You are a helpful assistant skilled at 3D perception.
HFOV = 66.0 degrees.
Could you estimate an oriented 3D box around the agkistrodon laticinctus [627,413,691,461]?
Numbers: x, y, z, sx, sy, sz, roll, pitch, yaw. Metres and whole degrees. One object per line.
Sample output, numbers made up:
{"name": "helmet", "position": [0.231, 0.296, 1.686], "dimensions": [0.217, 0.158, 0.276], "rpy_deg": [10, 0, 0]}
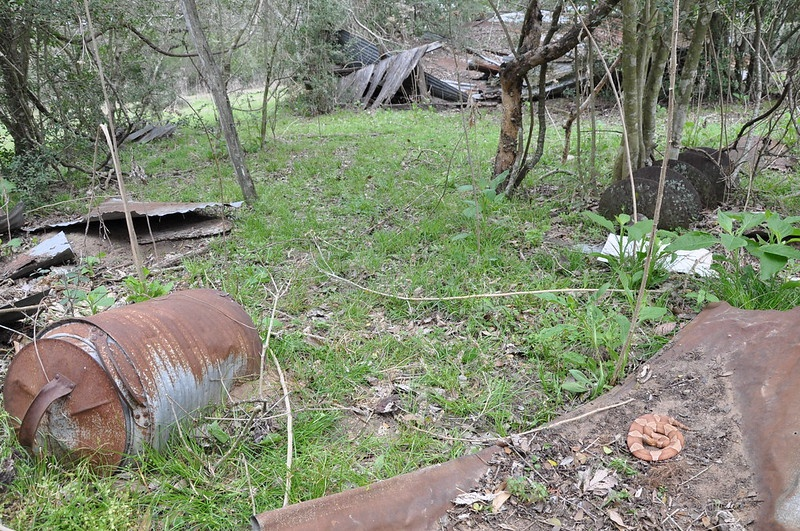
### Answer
{"name": "agkistrodon laticinctus", "position": [1.859, 1.234, 4.469], "dimensions": [0.369, 0.114, 0.485], "rpy_deg": [7, 31, 34]}

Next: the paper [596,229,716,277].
{"name": "paper", "position": [2.436, -0.151, 5.857], "dimensions": [0.987, 0.383, 0.711], "rpy_deg": [4, 21, 17]}
